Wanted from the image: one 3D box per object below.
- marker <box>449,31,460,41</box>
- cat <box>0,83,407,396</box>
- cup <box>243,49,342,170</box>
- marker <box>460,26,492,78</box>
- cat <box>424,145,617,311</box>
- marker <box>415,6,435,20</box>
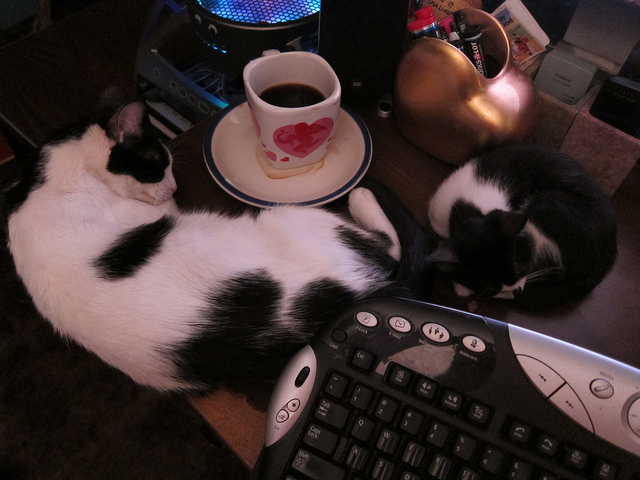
[{"bbox_3d":[0.240,-0.362,0.996,0.014,0.013,0.014,24,66,20],"label":"marker"},{"bbox_3d":[-0.195,0.017,1.089,0.492,0.170,0.668,22,62,18],"label":"cat"},{"bbox_3d":[-0.059,-0.250,1.040,0.146,0.141,0.212,-16,63,-10],"label":"cup"},{"bbox_3d":[0.281,-0.333,1.004,0.026,0.113,0.033,-29,47,7],"label":"marker"},{"bbox_3d":[0.354,-0.021,0.961,0.286,0.107,0.303,27,73,24],"label":"cat"},{"bbox_3d":[0.190,-0.407,0.996,0.025,0.020,0.026,22,52,28],"label":"marker"}]
